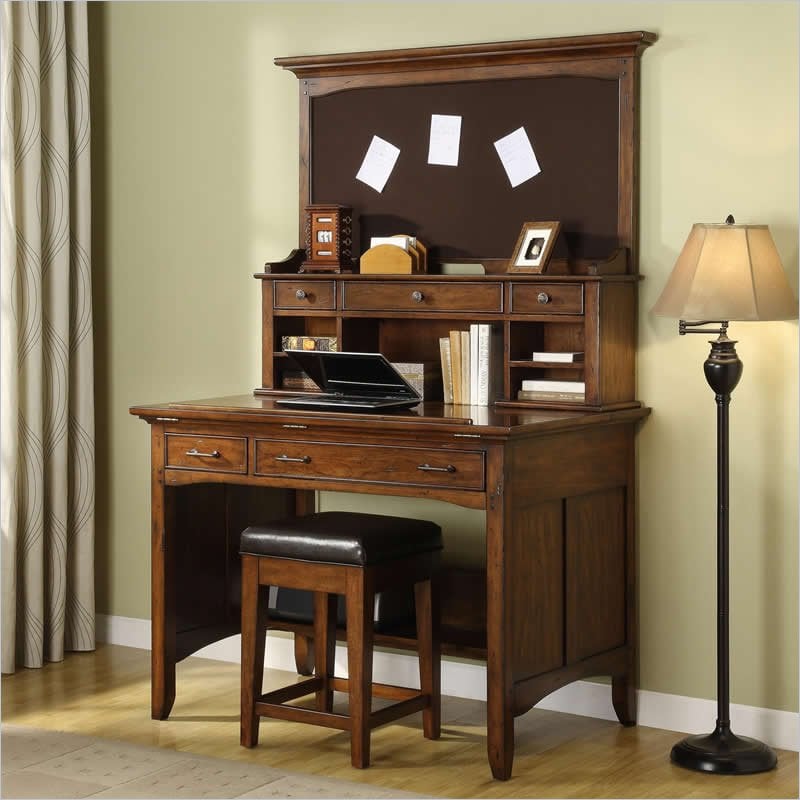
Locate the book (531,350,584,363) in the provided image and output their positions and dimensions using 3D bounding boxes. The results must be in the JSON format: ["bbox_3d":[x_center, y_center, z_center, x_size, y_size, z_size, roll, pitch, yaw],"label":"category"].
[{"bbox_3d":[0.416,-0.111,2.311,0.129,0.035,0.063,-1,-4,16],"label":"book"}]

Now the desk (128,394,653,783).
[{"bbox_3d":[-0.051,0.466,2.486,1.210,0.754,0.721,-2,-6,36],"label":"desk"}]

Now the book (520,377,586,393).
[{"bbox_3d":[0.410,-0.037,2.321,0.182,0.042,0.069,-1,-4,23],"label":"book"}]

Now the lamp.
[{"bbox_3d":[0.783,0.222,2.060,0.343,1.322,0.405,0,-4,15],"label":"lamp"}]
